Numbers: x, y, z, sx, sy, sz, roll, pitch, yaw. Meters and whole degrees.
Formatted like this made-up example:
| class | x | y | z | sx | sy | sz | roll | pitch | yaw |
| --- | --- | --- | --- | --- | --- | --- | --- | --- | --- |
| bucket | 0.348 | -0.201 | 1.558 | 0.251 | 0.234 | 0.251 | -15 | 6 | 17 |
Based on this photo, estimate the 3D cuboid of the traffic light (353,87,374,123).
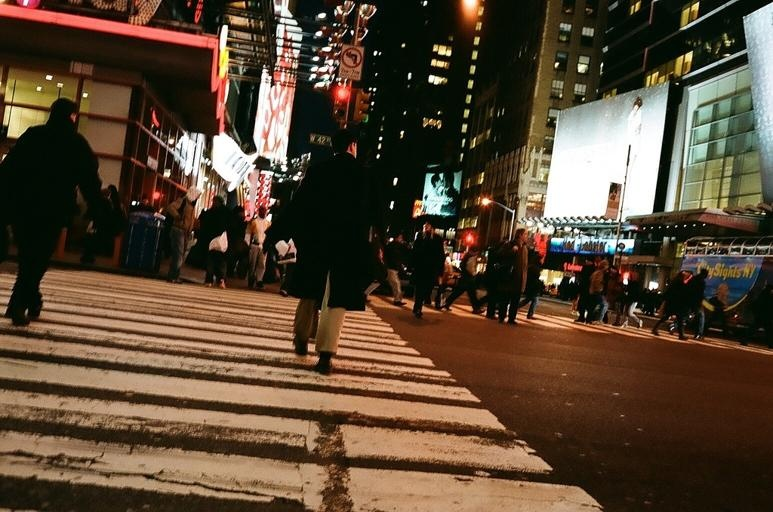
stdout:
| class | x | y | z | sx | sy | sz | roll | pitch | yaw |
| --- | --- | --- | --- | --- | --- | --- | --- | --- | --- |
| traffic light | -0.807 | -4.812 | 20.156 | 0.491 | 0.889 | 1.040 | 7 | 3 | -4 |

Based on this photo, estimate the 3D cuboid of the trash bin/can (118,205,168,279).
| class | x | y | z | sx | sy | sz | roll | pitch | yaw |
| --- | --- | --- | --- | --- | --- | --- | --- | --- | --- |
| trash bin/can | -6.116 | -0.358 | 15.946 | 0.929 | 1.601 | 0.739 | 6 | 3 | -25 |

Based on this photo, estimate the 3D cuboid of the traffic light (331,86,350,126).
| class | x | y | z | sx | sy | sz | roll | pitch | yaw |
| --- | --- | --- | --- | --- | --- | --- | --- | --- | --- |
| traffic light | -1.415 | -4.777 | 19.951 | 0.532 | 1.068 | 0.739 | 7 | 3 | -6 |
